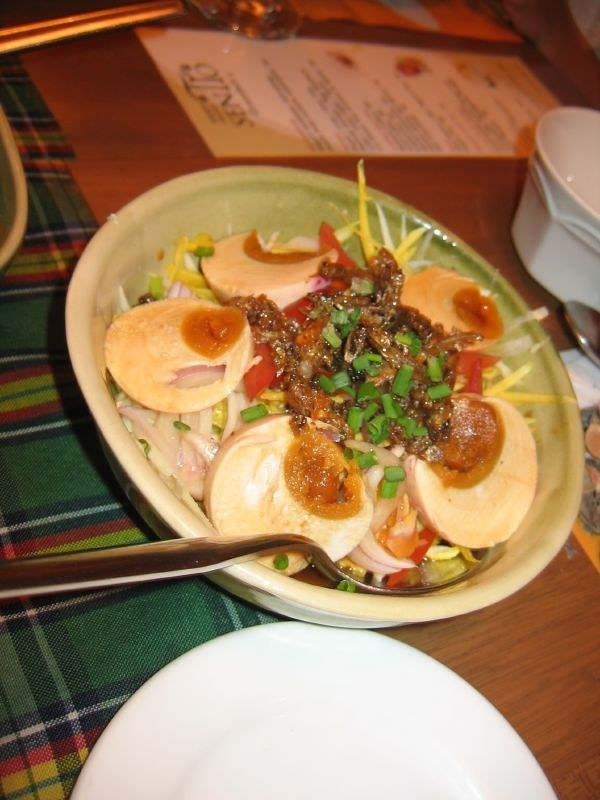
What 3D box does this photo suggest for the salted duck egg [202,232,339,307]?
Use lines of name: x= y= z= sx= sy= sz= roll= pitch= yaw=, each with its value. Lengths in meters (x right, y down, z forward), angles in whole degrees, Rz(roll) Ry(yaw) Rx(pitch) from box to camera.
salted duck egg: x=-0.052 y=-0.227 z=1.170 sx=0.199 sy=0.052 sz=0.139 roll=-18 pitch=63 yaw=-24
